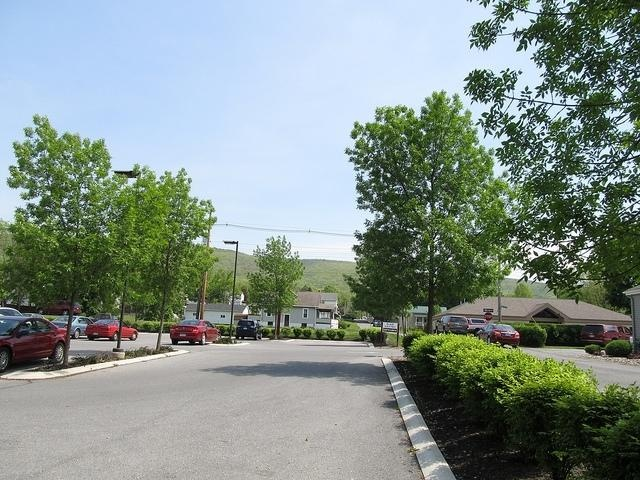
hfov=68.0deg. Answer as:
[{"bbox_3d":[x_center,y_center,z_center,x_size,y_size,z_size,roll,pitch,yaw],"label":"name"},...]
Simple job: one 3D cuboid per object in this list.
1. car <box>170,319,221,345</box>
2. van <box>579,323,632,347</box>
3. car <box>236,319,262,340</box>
[{"bbox_3d":[-7.973,5.868,30.974,1.343,1.013,3.222,-1,-6,9],"label":"car"},{"bbox_3d":[23.708,7.417,38.610,4.776,1.984,2.527,0,-5,-27],"label":"van"},{"bbox_3d":[-6.773,8.364,44.634,1.735,1.929,3.053,-4,-15,18],"label":"car"}]
